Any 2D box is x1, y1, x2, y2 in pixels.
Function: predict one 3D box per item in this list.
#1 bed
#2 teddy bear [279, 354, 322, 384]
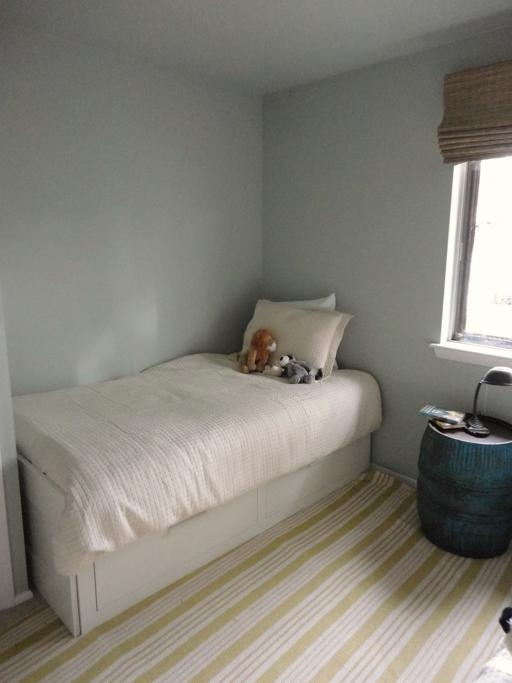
[{"bbox_3d":[-0.243,0.463,2.219,1.251,0.426,0.797,-9,16,-42],"label":"bed"},{"bbox_3d":[0.206,0.141,2.686,0.144,0.059,0.158,22,9,42],"label":"teddy bear"}]
